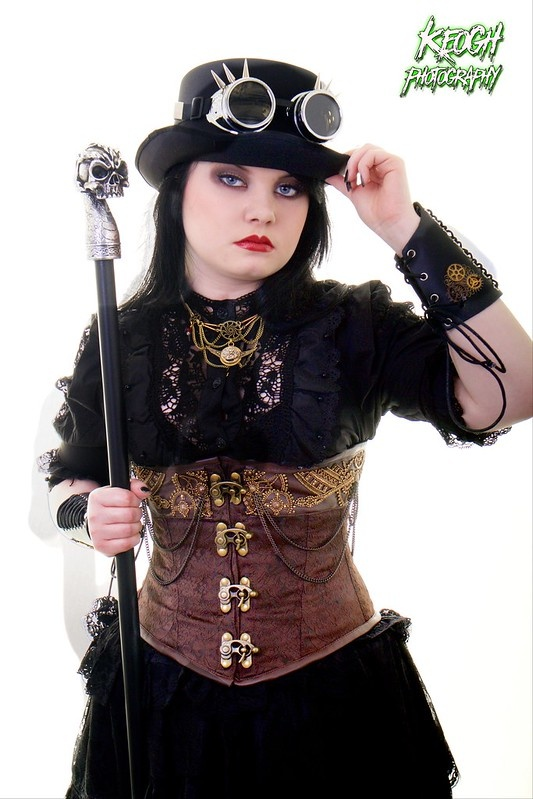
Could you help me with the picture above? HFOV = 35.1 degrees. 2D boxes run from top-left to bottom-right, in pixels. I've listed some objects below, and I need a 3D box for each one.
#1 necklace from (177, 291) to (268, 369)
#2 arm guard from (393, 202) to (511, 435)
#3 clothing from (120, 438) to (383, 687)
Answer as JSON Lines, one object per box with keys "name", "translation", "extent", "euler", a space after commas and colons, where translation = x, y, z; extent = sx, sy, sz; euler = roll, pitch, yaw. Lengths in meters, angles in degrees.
{"name": "necklace", "translation": [-0.077, -0.140, 1.696], "extent": [0.174, 0.176, 0.024], "euler": [-5, -29, 7]}
{"name": "arm guard", "translation": [0.335, -0.152, 1.550], "extent": [0.173, 0.405, 0.119], "euler": [-33, -13, 8]}
{"name": "clothing", "translation": [-0.044, 0.295, 1.767], "extent": [0.642, 0.460, 0.412], "euler": [-3, -15, 5]}
